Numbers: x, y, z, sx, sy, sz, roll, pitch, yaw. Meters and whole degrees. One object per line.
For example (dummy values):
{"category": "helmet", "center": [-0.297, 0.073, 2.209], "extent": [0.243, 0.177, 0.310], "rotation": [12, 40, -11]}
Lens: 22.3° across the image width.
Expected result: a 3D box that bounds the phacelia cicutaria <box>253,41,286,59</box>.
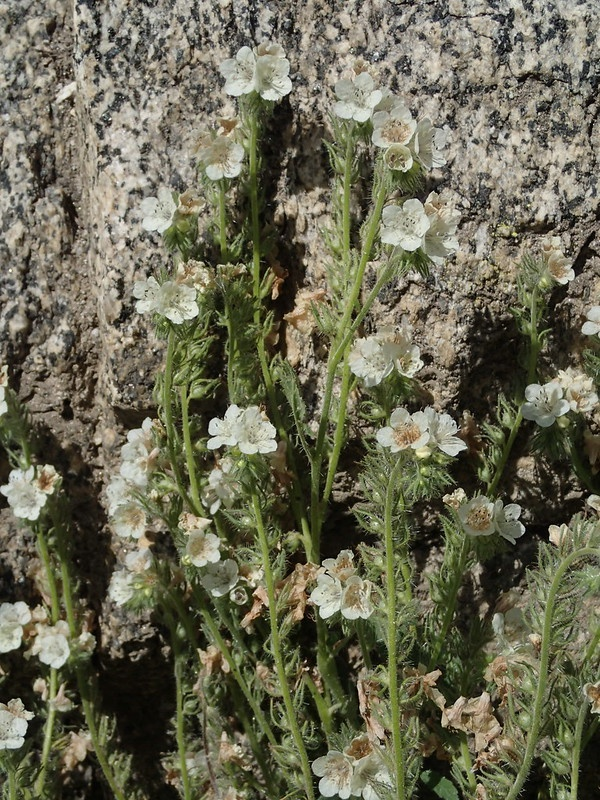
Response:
{"category": "phacelia cicutaria", "center": [-0.071, -0.759, 3.277], "extent": [0.046, 0.044, 0.018], "rotation": [-19, 28, -6]}
